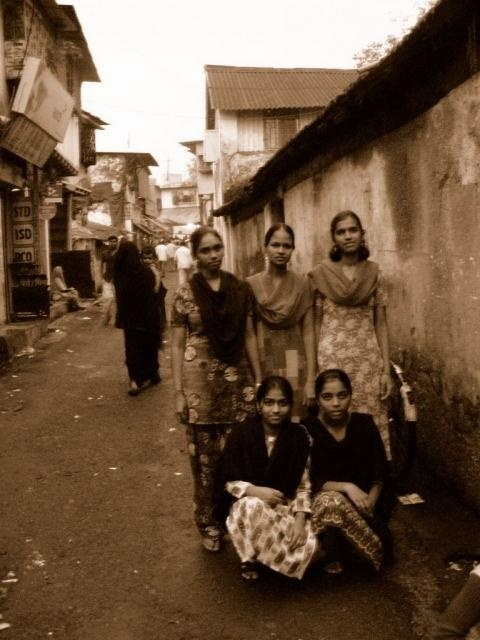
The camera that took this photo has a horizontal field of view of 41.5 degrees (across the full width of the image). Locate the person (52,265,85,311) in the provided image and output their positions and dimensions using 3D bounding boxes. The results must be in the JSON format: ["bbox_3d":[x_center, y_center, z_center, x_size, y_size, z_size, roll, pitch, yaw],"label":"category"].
[{"bbox_3d":[-4.543,-0.828,16.649,0.745,1.110,1.615,-3,6,-19],"label":"person"}]

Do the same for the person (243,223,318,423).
[{"bbox_3d":[0.205,0.166,3.461,0.413,1.381,0.396,-6,31,-4],"label":"person"}]

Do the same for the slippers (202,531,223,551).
[{"bbox_3d":[-0.139,1.112,3.177,0.074,0.101,0.098,-3,-1,-1],"label":"slippers"}]

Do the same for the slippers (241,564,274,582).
[{"bbox_3d":[0.080,1.139,2.849,0.104,0.049,0.075,-1,38,-4],"label":"slippers"}]

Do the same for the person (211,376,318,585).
[{"bbox_3d":[0.114,0.682,2.803,0.409,0.800,0.384,-1,5,-2],"label":"person"}]

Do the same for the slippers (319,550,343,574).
[{"bbox_3d":[0.408,1.071,2.854,0.100,0.141,0.034,-14,7,-10],"label":"slippers"}]

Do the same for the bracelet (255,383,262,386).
[{"bbox_3d":[0.091,0.319,3.127,0.010,0.014,0.040,-32,-4,-10],"label":"bracelet"}]

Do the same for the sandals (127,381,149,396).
[{"bbox_3d":[-1.134,0.761,7.019,0.088,0.171,0.402,6,-5,18],"label":"sandals"}]
